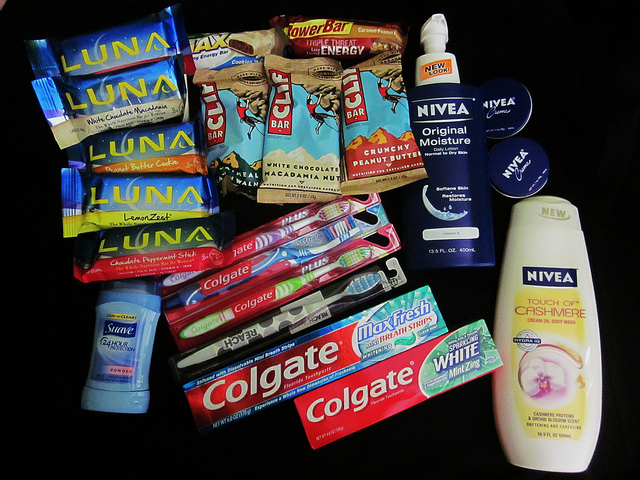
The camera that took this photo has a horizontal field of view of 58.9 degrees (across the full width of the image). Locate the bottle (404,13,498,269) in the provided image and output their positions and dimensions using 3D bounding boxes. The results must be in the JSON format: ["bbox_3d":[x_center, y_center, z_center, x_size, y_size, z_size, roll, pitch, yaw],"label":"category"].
[{"bbox_3d":[0.266,-0.202,1.160,0.182,0.444,0.275,0,30,9],"label":"bottle"}]

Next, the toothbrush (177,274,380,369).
[{"bbox_3d":[-0.093,0.174,1.186,0.439,0.025,0.053,-22,72,-1],"label":"toothbrush"}]

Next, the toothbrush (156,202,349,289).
[{"bbox_3d":[-0.141,0.017,1.184,0.370,0.042,0.024,-26,5,-4],"label":"toothbrush"}]

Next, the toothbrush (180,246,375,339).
[{"bbox_3d":[-0.102,0.111,1.188,0.420,0.025,0.046,-22,73,-3],"label":"toothbrush"}]

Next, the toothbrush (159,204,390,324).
[{"bbox_3d":[-0.103,0.059,1.189,0.510,0.098,0.035,-26,4,-4],"label":"toothbrush"}]
